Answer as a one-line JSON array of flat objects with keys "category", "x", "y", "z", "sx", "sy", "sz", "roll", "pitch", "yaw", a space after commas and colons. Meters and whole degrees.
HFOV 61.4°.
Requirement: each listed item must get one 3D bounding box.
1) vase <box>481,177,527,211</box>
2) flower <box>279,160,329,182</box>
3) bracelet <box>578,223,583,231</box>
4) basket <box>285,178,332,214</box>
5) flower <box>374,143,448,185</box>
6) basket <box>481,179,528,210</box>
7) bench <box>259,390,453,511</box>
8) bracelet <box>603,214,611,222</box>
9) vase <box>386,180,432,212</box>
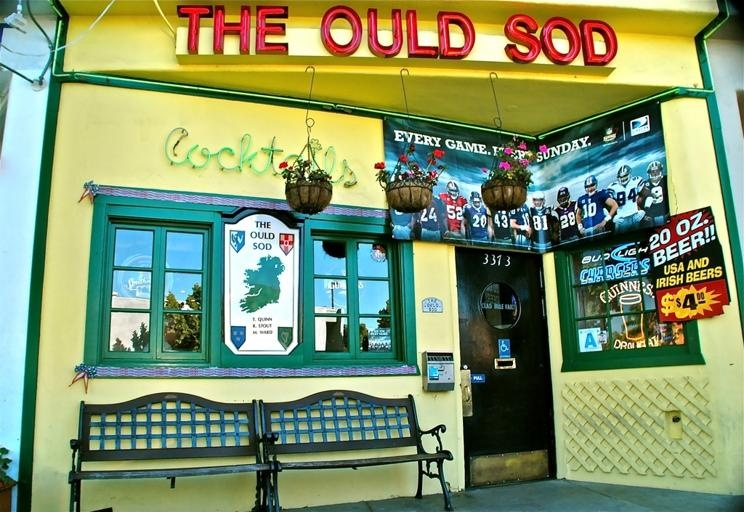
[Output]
[{"category": "vase", "x": 1.537, "y": -0.673, "z": 7.322, "sx": 0.503, "sy": 0.298, "sz": 0.512, "roll": -10, "pitch": -8, "yaw": 39}, {"category": "flower", "x": -0.755, "y": -0.922, "z": 6.956, "sx": 0.446, "sy": 0.205, "sz": 0.345, "roll": 3, "pitch": 1, "yaw": -22}, {"category": "bracelet", "x": 2.750, "y": -0.375, "z": 8.218, "sx": 0.064, "sy": 0.070, "sz": 0.081, "roll": 10, "pitch": 7, "yaw": 21}, {"category": "basket", "x": -0.688, "y": -0.638, "z": 6.916, "sx": 0.390, "sy": 0.218, "sz": 0.391, "roll": -1, "pitch": -5, "yaw": -7}, {"category": "flower", "x": 0.477, "y": -1.294, "z": 8.003, "sx": 0.736, "sy": 0.348, "sz": 0.773, "roll": -19, "pitch": -6, "yaw": 35}, {"category": "basket", "x": 1.513, "y": -0.662, "z": 7.180, "sx": 0.380, "sy": 0.235, "sz": 0.383, "roll": -1, "pitch": -2, "yaw": 0}, {"category": "bench", "x": -0.210, "y": 2.164, "z": 6.947, "sx": 1.997, "sy": 1.331, "sz": 0.801, "roll": -1, "pitch": -10, "yaw": -15}, {"category": "bracelet", "x": 3.033, "y": -0.483, "z": 8.030, "sx": 0.073, "sy": 0.116, "sz": 0.084, "roll": 6, "pitch": -7, "yaw": 14}, {"category": "vase", "x": 0.421, "y": -0.660, "z": 7.004, "sx": 0.370, "sy": 0.206, "sz": 0.371, "roll": -1, "pitch": -3, "yaw": -12}]
